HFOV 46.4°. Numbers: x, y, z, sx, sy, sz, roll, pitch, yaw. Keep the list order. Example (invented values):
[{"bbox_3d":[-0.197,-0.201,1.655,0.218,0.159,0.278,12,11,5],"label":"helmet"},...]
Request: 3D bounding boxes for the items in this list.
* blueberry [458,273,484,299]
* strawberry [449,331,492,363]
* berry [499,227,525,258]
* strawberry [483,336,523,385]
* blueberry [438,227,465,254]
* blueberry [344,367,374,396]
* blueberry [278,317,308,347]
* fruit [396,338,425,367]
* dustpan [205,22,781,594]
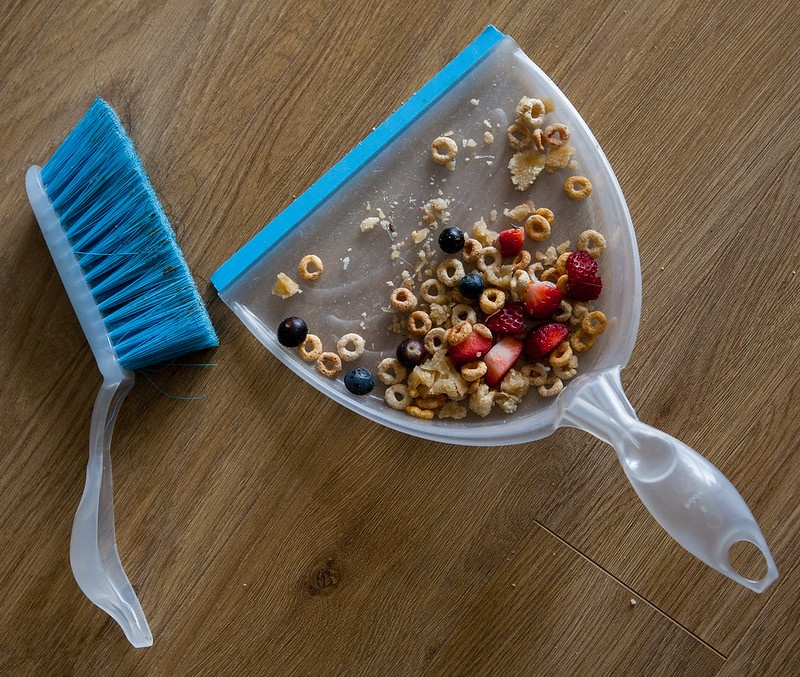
[{"bbox_3d":[0.121,-0.089,1.593,0.034,0.039,0.043,0,100,15],"label":"blueberry"},{"bbox_3d":[0.121,0.018,1.600,0.082,0.036,0.046,-29,82,1],"label":"strawberry"},{"bbox_3d":[0.193,-0.163,1.618,0.047,0.040,0.046,-10,83,3],"label":"berry"},{"bbox_3d":[0.175,0.033,1.602,0.044,0.023,0.091,35,76,9],"label":"strawberry"},{"bbox_3d":[0.089,-0.169,1.602,0.037,0.022,0.045,-2,97,-3],"label":"blueberry"},{"bbox_3d":[-0.073,0.075,1.597,0.040,0.023,0.049,0,78,-2],"label":"blueberry"},{"bbox_3d":[-0.186,-0.008,1.592,0.043,0.025,0.053,2,87,-10],"label":"blueberry"},{"bbox_3d":[0.015,0.026,1.598,0.041,0.043,0.048,16,88,-8],"label":"fruit"},{"bbox_3d":[0.166,0.033,1.556,0.698,0.152,0.915,-37,83,0],"label":"dustpan"}]
